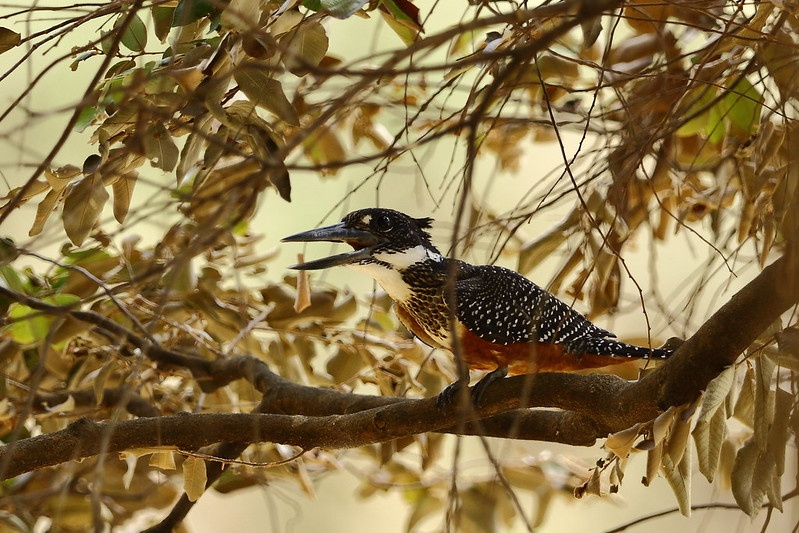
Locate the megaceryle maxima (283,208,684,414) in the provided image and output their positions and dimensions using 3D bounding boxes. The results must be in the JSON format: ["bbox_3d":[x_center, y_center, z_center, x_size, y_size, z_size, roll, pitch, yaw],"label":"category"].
[{"bbox_3d":[0.238,0.138,3.727,1.421,0.608,0.372,0,-4,-32],"label":"megaceryle maxima"}]
